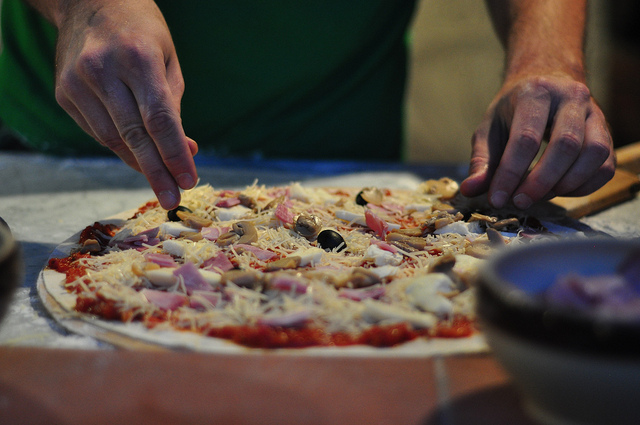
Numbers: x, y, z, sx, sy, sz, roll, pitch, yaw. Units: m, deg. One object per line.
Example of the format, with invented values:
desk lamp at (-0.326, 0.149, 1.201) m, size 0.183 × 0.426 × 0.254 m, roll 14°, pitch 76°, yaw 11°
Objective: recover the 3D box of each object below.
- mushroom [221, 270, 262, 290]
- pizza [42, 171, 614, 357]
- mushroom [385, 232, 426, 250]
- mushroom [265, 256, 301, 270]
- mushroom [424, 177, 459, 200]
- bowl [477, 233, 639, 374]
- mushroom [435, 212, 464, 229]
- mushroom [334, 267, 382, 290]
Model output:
mushroom at (-0.124, 0.106, 1.017) m, size 0.039 × 0.014 × 0.040 m, roll 5°, pitch 1°, yaw 37°
pizza at (-0.037, 0.093, 1.222) m, size 0.841 × 0.085 × 0.903 m, roll 15°, pitch 18°, yaw 42°
mushroom at (0.164, 0.051, 1.161) m, size 0.055 × 0.015 × 0.033 m, roll 9°, pitch 14°, yaw 29°
mushroom at (-0.061, 0.086, 1.075) m, size 0.043 × 0.011 × 0.027 m, roll -12°, pitch 3°, yaw -19°
mushroom at (0.292, -0.056, 1.466) m, size 0.058 × 0.021 × 0.057 m, roll -13°, pitch 23°, yaw -35°
bowl at (0.310, 0.090, 0.821) m, size 0.187 × 0.139 × 0.194 m, roll -1°, pitch 0°, yaw 0°
mushroom at (0.256, 0.019, 1.235) m, size 0.037 × 0.009 × 0.035 m, roll -18°, pitch 7°, yaw -42°
mushroom at (0.068, 0.107, 1.033) m, size 0.043 × 0.016 × 0.042 m, roll 0°, pitch 1°, yaw -6°
